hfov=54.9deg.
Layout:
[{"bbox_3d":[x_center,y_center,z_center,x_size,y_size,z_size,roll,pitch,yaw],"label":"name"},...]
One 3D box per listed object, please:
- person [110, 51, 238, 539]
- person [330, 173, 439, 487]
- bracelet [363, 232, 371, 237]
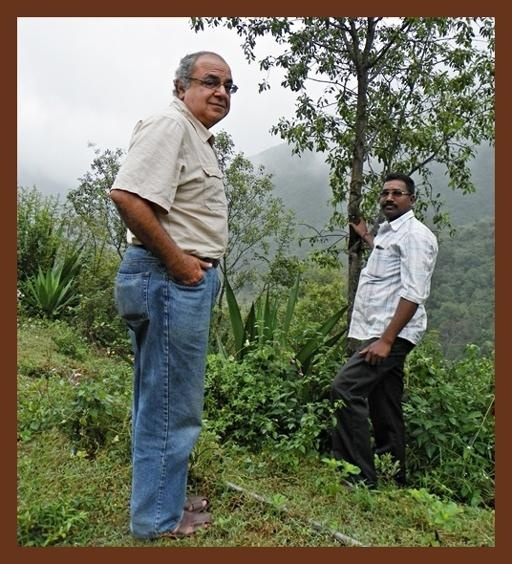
[{"bbox_3d":[-0.400,0.021,2.316,0.684,2.234,0.392,8,0,-21],"label":"person"},{"bbox_3d":[0.846,0.264,3.207,0.511,2.061,0.698,9,0,19],"label":"person"},{"bbox_3d":[0.908,-0.382,4.015,0.040,0.036,0.039,-3,4,-42],"label":"bracelet"}]
